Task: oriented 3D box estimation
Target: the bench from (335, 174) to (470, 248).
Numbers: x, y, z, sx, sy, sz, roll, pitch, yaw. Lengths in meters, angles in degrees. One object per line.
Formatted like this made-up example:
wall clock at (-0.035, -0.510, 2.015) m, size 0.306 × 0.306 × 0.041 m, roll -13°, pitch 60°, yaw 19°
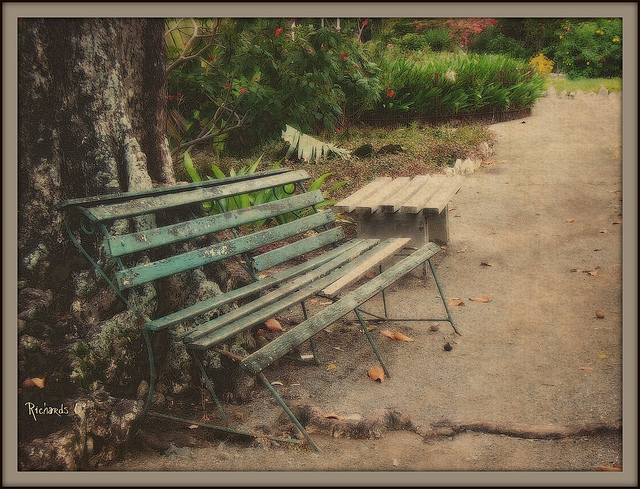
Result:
bench at (0.902, -0.485, 6.961) m, size 0.881 × 0.750 × 1.556 m, roll 5°, pitch 22°, yaw 24°

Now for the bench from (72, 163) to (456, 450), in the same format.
bench at (-0.485, 0.213, 5.526) m, size 2.196 × 1.823 × 2.991 m, roll 9°, pitch 24°, yaw 34°
